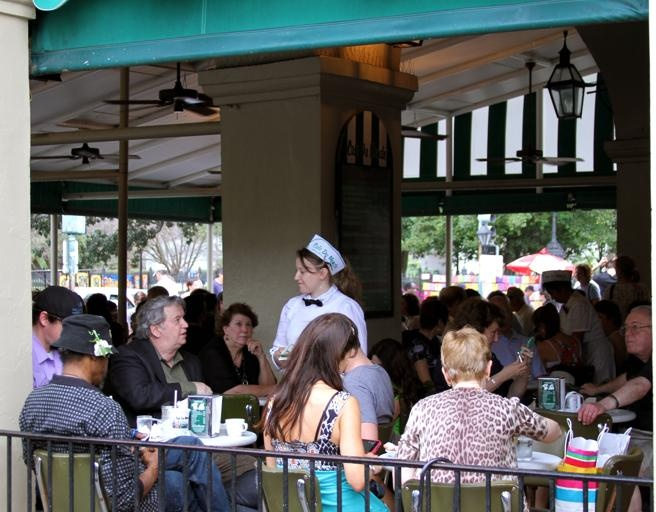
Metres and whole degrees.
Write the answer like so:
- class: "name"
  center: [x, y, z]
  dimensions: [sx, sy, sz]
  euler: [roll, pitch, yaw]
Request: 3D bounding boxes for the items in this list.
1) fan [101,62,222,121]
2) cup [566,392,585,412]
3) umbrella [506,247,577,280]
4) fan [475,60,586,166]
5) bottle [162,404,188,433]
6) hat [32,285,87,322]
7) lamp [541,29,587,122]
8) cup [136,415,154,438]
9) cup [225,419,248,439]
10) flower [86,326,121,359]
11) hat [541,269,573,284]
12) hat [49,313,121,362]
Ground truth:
- class: "fan"
  center: [-2.127, -2.118, 11.086]
  dimensions: [1.179, 0.576, 1.234]
  euler: [10, 11, 29]
- class: "cup"
  center: [1.764, 1.049, 6.309]
  dimensions: [0.153, 0.177, 0.096]
  euler: [2, 0, 2]
- class: "umbrella"
  center: [5.135, 0.186, 21.743]
  dimensions: [1.363, 0.704, 1.368]
  euler: [0, -1, -35]
- class: "fan"
  center: [3.499, -2.482, 14.981]
  dimensions: [1.624, 2.109, 1.806]
  euler: [2, -5, -3]
- class: "bottle"
  center: [-0.937, 1.014, 5.462]
  dimensions: [0.129, 0.171, 0.167]
  euler: [0, -19, 1]
- class: "hat"
  center: [-1.727, 0.305, 5.664]
  dimensions: [0.215, 0.181, 0.310]
  euler: [7, 11, -14]
- class: "lamp"
  center: [2.715, -2.035, 10.033]
  dimensions: [0.424, 0.916, 0.468]
  euler: [-1, -1, -19]
- class: "cup"
  center: [-1.124, 1.051, 5.399]
  dimensions: [0.099, 0.177, 0.107]
  euler: [0, -20, 0]
- class: "cup"
  center: [-0.578, 1.103, 5.579]
  dimensions: [0.110, 0.093, 0.095]
  euler: [2, -6, 14]
- class: "flower"
  center: [-1.255, 0.475, 4.854]
  dimensions: [0.117, 0.090, 0.158]
  euler: [-2, 12, -24]
- class: "hat"
  center: [2.848, 0.245, 10.809]
  dimensions: [0.304, 0.155, 0.318]
  euler: [0, 2, -21]
- class: "hat"
  center: [-1.311, 0.434, 4.800]
  dimensions: [0.245, 0.154, 0.247]
  euler: [1, 1, 10]
